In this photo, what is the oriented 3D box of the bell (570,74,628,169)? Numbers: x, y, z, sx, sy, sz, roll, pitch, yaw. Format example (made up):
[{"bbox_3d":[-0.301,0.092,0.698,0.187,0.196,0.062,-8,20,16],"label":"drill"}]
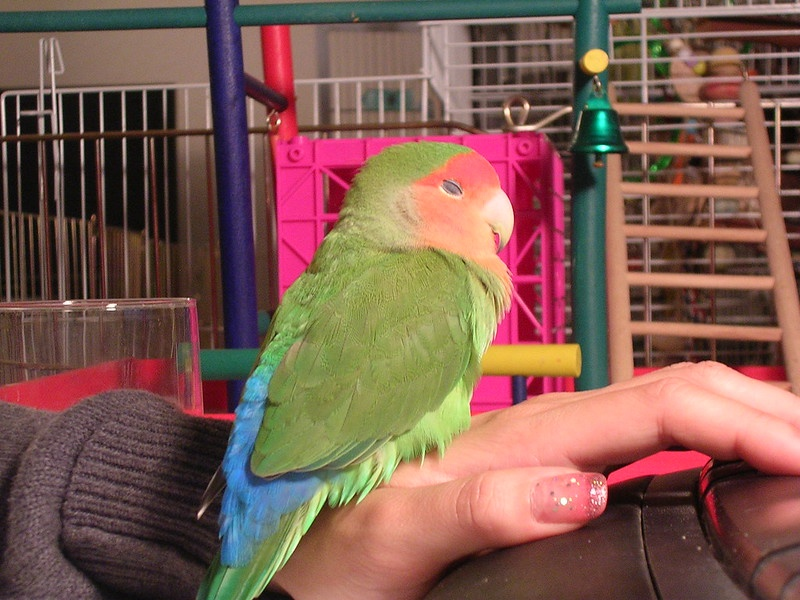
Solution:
[{"bbox_3d":[0.455,-0.402,2.417,0.120,0.244,0.127,4,-12,-9],"label":"bell"}]
